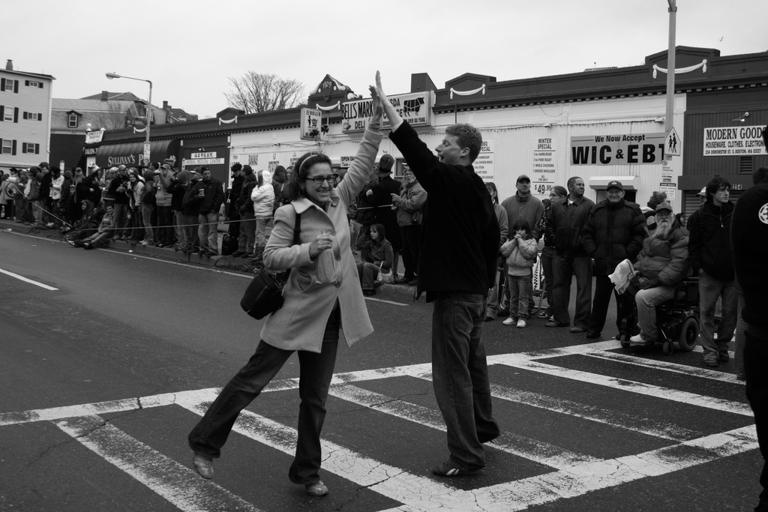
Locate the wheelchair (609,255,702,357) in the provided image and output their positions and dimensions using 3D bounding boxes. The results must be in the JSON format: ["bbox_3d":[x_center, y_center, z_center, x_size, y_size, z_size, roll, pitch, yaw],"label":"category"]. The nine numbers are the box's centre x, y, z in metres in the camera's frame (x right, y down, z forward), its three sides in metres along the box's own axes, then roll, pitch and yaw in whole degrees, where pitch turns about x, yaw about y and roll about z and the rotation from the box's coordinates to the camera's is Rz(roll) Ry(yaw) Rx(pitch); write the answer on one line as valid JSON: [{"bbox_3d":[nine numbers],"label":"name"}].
[{"bbox_3d":[4.534,0.818,11.126,1.071,1.403,1.071,4,1,-43],"label":"wheelchair"}]

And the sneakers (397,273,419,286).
[{"bbox_3d":[0.574,0.563,15.335,0.557,0.256,0.199,2,3,19],"label":"sneakers"}]

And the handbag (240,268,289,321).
[{"bbox_3d":[-1.044,0.329,6.021,0.400,0.423,0.287,-1,7,-23],"label":"handbag"}]

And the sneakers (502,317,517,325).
[{"bbox_3d":[2.316,1.235,12.591,0.103,0.120,0.266,-6,-10,36],"label":"sneakers"}]

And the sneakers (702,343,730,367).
[{"bbox_3d":[4.944,1.521,10.135,0.197,0.269,0.612,-2,-11,18],"label":"sneakers"}]

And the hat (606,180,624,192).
[{"bbox_3d":[3.914,-1.176,11.460,0.257,0.156,0.195,1,7,-8],"label":"hat"}]

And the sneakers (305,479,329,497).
[{"bbox_3d":[-0.576,2.015,5.895,0.209,0.133,0.125,1,7,-7],"label":"sneakers"}]

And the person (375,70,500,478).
[{"bbox_3d":[0.620,0.361,6.331,1.094,3.291,0.593,1,6,-2],"label":"person"}]
